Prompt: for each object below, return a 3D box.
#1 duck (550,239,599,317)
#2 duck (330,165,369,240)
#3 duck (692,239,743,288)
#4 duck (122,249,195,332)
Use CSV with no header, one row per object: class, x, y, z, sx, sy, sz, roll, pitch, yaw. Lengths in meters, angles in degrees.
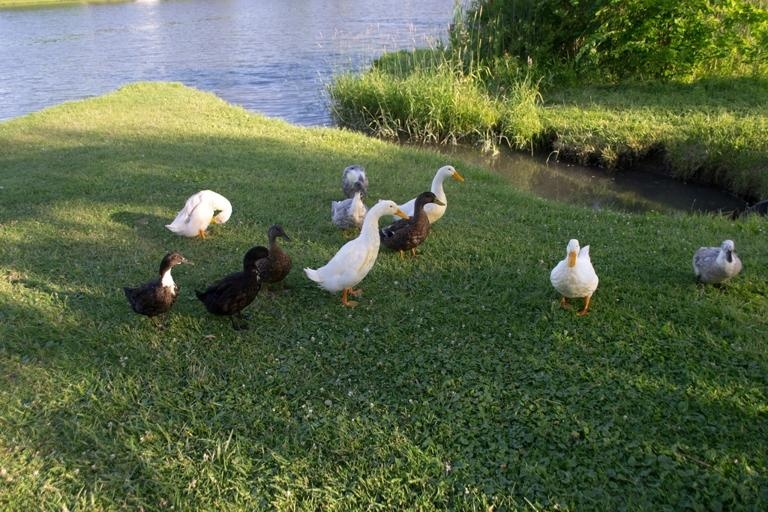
duck,3.413,0.410,11.713,0.722,1.220,1.506,7,33,18
duck,-0.981,-1.268,14.369,0.650,1.401,1.772,0,32,-14
duck,6.276,0.052,12.318,0.810,0.903,1.076,-7,18,7
duck,-4.047,0.634,11.612,1.021,1.257,0.444,-7,25,-18
